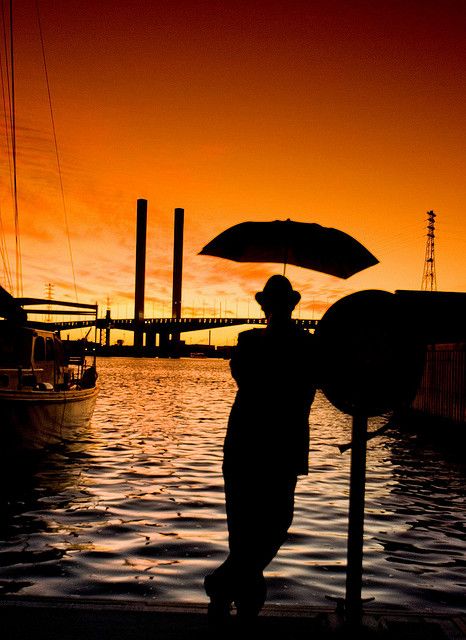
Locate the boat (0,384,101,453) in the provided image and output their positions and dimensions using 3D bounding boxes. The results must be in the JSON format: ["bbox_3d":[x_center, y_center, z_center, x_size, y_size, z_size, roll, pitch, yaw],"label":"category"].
[{"bbox_3d":[-2.890,1.578,13.298,0.405,1.049,4.163,12,-2,6],"label":"boat"}]

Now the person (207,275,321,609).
[{"bbox_3d":[0.161,0.622,4.269,0.516,1.668,0.295,12,-2,14],"label":"person"}]
